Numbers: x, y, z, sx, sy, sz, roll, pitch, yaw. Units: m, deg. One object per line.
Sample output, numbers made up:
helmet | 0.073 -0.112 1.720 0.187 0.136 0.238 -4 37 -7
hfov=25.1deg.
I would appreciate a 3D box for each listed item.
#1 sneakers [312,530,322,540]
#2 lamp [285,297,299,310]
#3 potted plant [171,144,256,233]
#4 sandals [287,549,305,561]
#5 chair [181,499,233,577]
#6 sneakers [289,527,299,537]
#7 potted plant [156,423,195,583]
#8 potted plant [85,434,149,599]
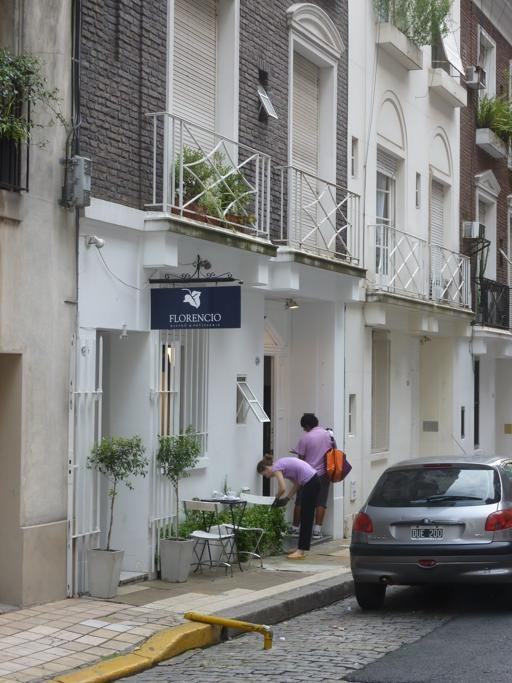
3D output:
sneakers | 0.799 2.560 15.043 0.052 0.088 0.188 1 2 9
lamp | 0.491 -0.496 15.000 0.114 0.141 0.150 -2 -19 -15
potted plant | -0.495 -1.658 12.533 0.361 0.843 1.052 -7 -6 28
sandals | 0.466 2.483 13.220 0.188 0.100 0.336 -1 -8 4
chair | -0.478 2.088 12.166 0.478 0.816 0.567 -1 -2 36
sneakers | 0.490 2.455 14.675 0.092 0.141 0.280 1 1 3
potted plant | -0.775 1.674 11.827 0.431 1.537 0.804 -1 -7 8
potted plant | -1.299 1.622 10.696 0.559 1.601 0.517 6 -9 1
